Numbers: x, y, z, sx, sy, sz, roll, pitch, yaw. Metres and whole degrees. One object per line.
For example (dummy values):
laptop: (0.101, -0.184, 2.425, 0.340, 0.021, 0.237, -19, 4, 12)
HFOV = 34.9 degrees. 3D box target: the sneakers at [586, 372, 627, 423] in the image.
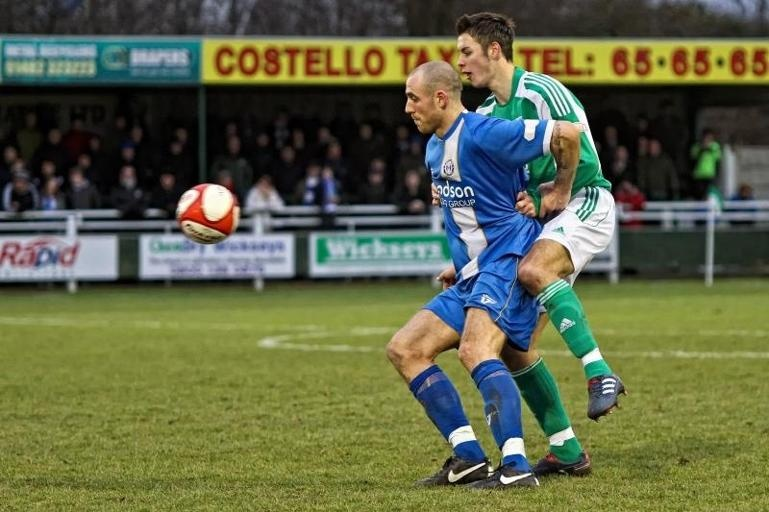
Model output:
sneakers: (1.095, 0.685, 6.111, 0.114, 0.162, 0.308, -32, 5, 34)

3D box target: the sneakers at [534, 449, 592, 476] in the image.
sneakers: (0.905, 1.091, 6.332, 0.323, 0.154, 0.124, 1, -2, 18)

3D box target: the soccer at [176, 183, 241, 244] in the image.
soccer: (-0.854, -0.188, 6.138, 0.276, 0.299, 0.282, 6, -9, 11)

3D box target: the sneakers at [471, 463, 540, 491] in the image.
sneakers: (0.599, 1.089, 6.028, 0.354, 0.146, 0.126, 1, -6, 1)

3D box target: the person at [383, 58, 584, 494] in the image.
person: (0.482, 0.076, 6.113, 0.901, 2.022, 0.768, 2, 13, 9)

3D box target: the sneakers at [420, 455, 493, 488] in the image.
sneakers: (0.364, 1.082, 6.128, 0.395, 0.175, 0.139, -1, -6, -2)
